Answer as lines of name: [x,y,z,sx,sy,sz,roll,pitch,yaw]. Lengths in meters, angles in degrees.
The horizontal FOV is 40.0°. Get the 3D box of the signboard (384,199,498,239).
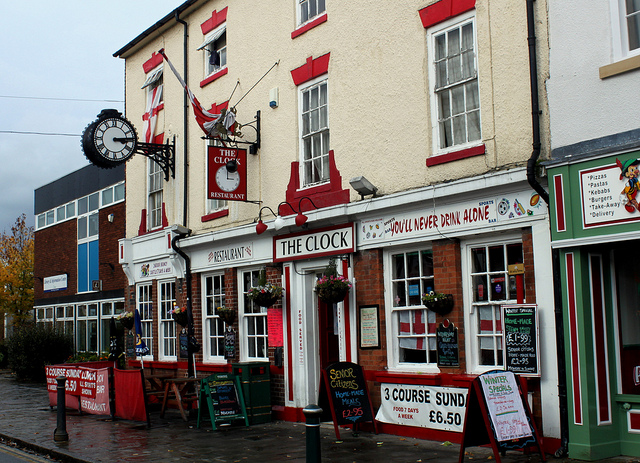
signboard: [2.217,-0.246,16.606,2.665,0.609,0.085,-9,-5,33]

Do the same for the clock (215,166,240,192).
clock: [-2.126,-1.222,19.978,0.538,0.570,0.071,5,-9,-39]

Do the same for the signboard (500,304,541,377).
signboard: [3.495,1.882,15.341,0.758,1.280,0.200,-12,-14,37]

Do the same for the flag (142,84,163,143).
flag: [-4.525,-3.256,23.844,0.562,1.923,1.441,-1,-11,-11]

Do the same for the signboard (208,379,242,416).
signboard: [-2.047,3.541,18.737,0.758,1.039,0.112,-1,-24,-33]

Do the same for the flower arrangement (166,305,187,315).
flower arrangement: [-3.586,1.942,22.115,0.289,0.169,0.376,-3,-3,-44]

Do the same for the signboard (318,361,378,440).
signboard: [0.545,3.163,17.068,0.988,1.506,0.915,8,-5,-43]

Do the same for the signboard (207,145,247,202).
signboard: [-2.100,-1.312,20.036,0.928,1.295,0.109,3,-15,-17]

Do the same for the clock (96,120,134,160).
clock: [-5.102,-2.285,21.748,0.079,0.996,0.935,-5,-2,43]

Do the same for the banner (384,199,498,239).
banner: [2.213,-0.235,16.625,2.463,0.557,0.085,-9,-2,38]

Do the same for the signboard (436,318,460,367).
signboard: [2.366,2.053,16.398,0.134,0.909,0.531,5,-14,-38]

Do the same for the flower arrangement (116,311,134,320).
flower arrangement: [-5.323,2.256,24.212,0.350,0.246,0.567,-1,-12,-15]

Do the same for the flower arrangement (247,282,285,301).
flower arrangement: [-1.164,1.285,19.289,0.791,0.353,0.429,-3,-11,-6]

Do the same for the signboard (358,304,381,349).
signboard: [0.990,1.893,17.643,0.088,0.869,0.612,6,-14,-39]

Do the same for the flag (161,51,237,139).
flag: [-2.839,-3.291,20.170,0.831,2.696,0.234,-16,-11,-31]

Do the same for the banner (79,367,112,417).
banner: [-5.150,3.625,20.278,0.405,1.141,1.448,4,-14,-33]

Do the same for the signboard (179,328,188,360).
signboard: [-3.386,2.755,21.841,0.186,0.747,0.653,-1,-11,-10]

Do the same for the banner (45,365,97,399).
banner: [-5.910,3.556,21.056,2.120,0.646,0.092,-2,-4,41]

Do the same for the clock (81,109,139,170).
clock: [-5.184,-2.358,21.773,1.306,1.325,0.744,0,-12,-18]
